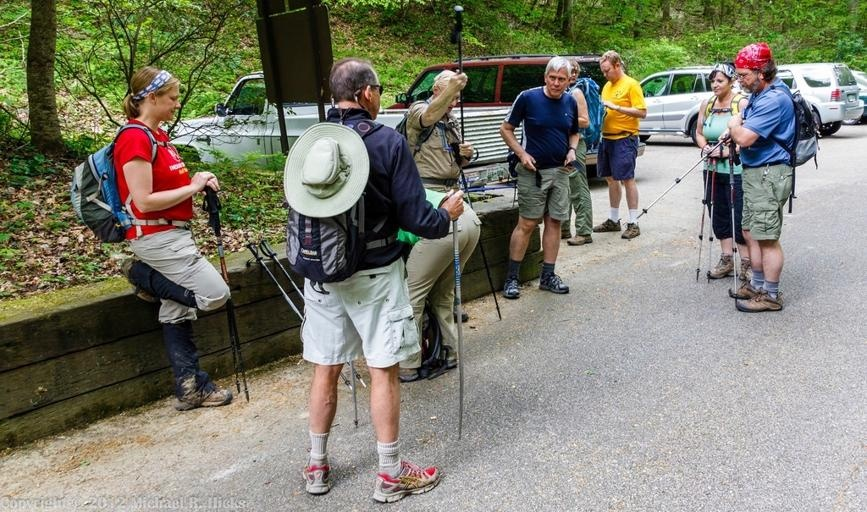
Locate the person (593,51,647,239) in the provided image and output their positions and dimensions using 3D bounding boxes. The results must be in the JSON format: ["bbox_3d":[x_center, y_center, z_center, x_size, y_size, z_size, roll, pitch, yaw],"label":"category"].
[{"bbox_3d":[2.906,-1.743,10.470,0.747,2.764,1.385,1,21,16],"label":"person"}]

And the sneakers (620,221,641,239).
[{"bbox_3d":[3.052,-0.393,10.363,0.231,0.223,0.324,6,22,29],"label":"sneakers"}]

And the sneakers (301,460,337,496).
[{"bbox_3d":[-1.024,1.964,5.903,0.180,0.174,0.372,0,12,-5],"label":"sneakers"}]

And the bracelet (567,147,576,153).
[{"bbox_3d":[1.751,-1.323,8.475,0.090,0.051,0.079,9,-2,-27],"label":"bracelet"}]

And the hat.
[{"bbox_3d":[-0.880,-0.712,5.577,0.834,0.765,0.199,6,1,19],"label":"hat"}]

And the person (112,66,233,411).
[{"bbox_3d":[-2.527,-0.136,6.601,0.917,3.296,0.882,-9,20,-10],"label":"person"}]

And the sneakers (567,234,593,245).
[{"bbox_3d":[2.231,-0.242,10.195,0.410,0.169,0.139,3,12,-3],"label":"sneakers"}]

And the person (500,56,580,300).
[{"bbox_3d":[1.340,-0.975,8.501,0.908,2.871,0.970,-3,20,8],"label":"person"}]

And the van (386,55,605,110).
[{"bbox_3d":[0.992,-3.107,12.487,3.381,1.418,1.810,13,19,37],"label":"van"}]

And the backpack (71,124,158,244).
[{"bbox_3d":[-3.197,-0.587,6.449,0.589,0.892,0.326,-8,20,-6],"label":"backpack"}]

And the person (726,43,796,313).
[{"bbox_3d":[3.846,-0.905,7.858,0.732,3.008,1.096,2,21,19],"label":"person"}]

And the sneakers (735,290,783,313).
[{"bbox_3d":[3.874,0.542,7.925,0.521,0.199,0.230,2,9,7],"label":"sneakers"}]

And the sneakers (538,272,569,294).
[{"bbox_3d":[1.559,0.358,8.713,0.454,0.204,0.181,9,20,37],"label":"sneakers"}]

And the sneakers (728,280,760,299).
[{"bbox_3d":[3.801,0.436,8.187,0.332,0.147,0.142,4,8,25],"label":"sneakers"}]

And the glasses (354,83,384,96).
[{"bbox_3d":[-0.572,-1.463,5.841,0.195,0.052,0.185,-4,11,0],"label":"glasses"}]

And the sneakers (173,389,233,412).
[{"bbox_3d":[-2.292,1.448,6.802,0.591,0.267,0.198,-6,11,-11],"label":"sneakers"}]
